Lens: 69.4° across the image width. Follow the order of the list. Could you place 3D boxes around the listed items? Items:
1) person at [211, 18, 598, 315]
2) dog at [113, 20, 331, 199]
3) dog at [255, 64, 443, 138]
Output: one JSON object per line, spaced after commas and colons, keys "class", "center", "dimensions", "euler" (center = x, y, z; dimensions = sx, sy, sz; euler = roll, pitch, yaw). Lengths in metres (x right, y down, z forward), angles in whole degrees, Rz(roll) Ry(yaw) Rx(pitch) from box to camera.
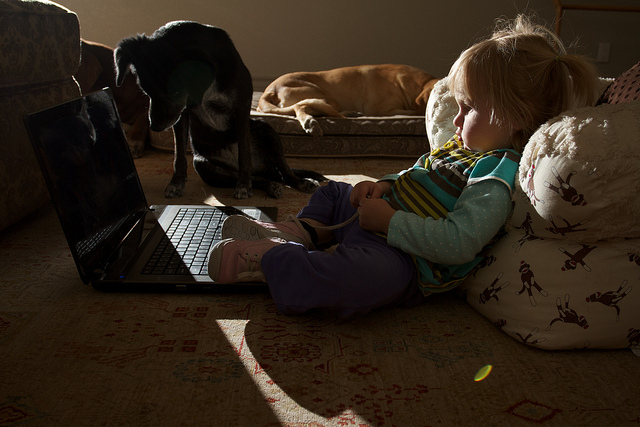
{"class": "person", "center": [0.239, -0.179, 1.564], "dimensions": [1.259, 0.894, 0.678], "euler": [0, 12, 12]}
{"class": "dog", "center": [-0.444, -0.466, 2.126], "dimensions": [0.593, 0.692, 1.124], "euler": [-2, 11, 18]}
{"class": "dog", "center": [0.212, -0.844, 3.187], "dimensions": [0.999, 0.289, 0.650], "euler": [-3, 19, -5]}
